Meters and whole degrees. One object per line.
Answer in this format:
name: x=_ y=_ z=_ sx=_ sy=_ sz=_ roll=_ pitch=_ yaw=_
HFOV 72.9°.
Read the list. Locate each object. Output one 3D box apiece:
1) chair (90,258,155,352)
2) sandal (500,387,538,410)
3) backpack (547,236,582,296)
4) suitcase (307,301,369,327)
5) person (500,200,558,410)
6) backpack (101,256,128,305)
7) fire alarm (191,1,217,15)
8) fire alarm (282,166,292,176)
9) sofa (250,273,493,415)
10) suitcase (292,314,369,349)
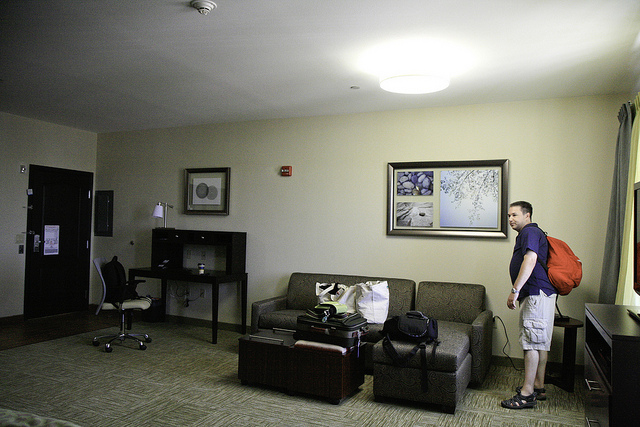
chair: x=-2.870 y=1.282 z=6.252 sx=0.887 sy=1.266 sz=0.984 roll=1 pitch=-4 yaw=-17
sandal: x=2.065 y=1.962 z=4.587 sx=0.415 sy=0.194 sz=0.147 roll=0 pitch=-9 yaw=-2
backpack: x=2.603 y=0.511 z=4.700 sx=0.320 sy=0.525 sz=0.389 roll=-5 pitch=1 yaw=30
suitcase: x=0.164 y=1.129 z=4.860 sx=0.397 sy=0.117 sz=0.315 roll=3 pitch=1 yaw=33
person: x=2.200 y=0.952 z=4.578 sx=0.576 sy=2.130 sz=0.458 roll=1 pitch=6 yaw=3
backpack: x=-2.806 y=0.933 z=5.895 sx=0.316 sy=0.655 sz=0.272 roll=-2 pitch=6 yaw=-24
fire alarm: x=-1.024 y=-1.819 z=3.788 sx=0.108 sy=0.041 sz=0.109 roll=-12 pitch=-16 yaw=35
fire alarm: x=-0.508 y=-0.649 z=6.551 sx=0.144 sy=0.143 sz=0.053 roll=3 pitch=6 yaw=21
sofa: x=0.672 y=1.406 z=5.591 sx=2.760 sy=1.040 sz=1.790 roll=5 pitch=7 yaw=38
suitcase: x=0.106 y=1.293 z=4.744 sx=0.475 sy=0.140 sz=0.393 roll=4 pitch=-2 yaw=26
